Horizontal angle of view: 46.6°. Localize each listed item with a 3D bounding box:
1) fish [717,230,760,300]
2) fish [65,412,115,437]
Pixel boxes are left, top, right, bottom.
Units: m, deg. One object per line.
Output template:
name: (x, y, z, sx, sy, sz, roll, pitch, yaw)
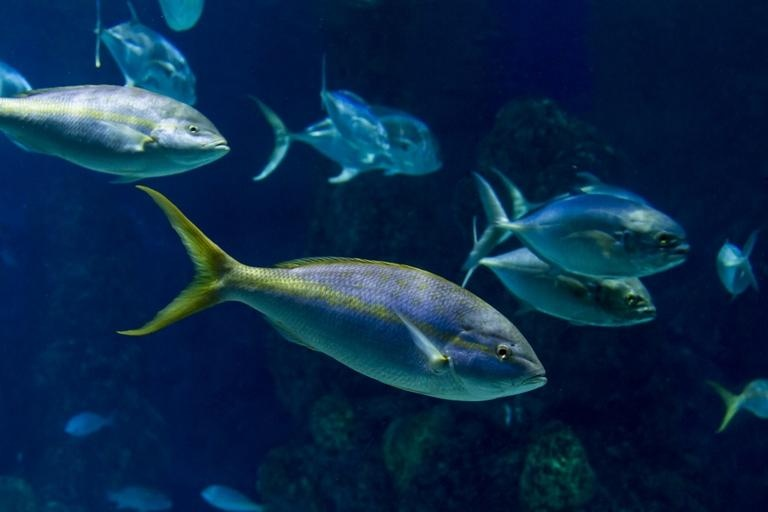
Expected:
fish: (3.286, 0.077, 8.335, 0.330, 0.574, 1.010, -7, -3, 6)
fish: (-2.950, 1.702, 8.878, 0.473, 0.209, 0.080, 4, -2, 7)
